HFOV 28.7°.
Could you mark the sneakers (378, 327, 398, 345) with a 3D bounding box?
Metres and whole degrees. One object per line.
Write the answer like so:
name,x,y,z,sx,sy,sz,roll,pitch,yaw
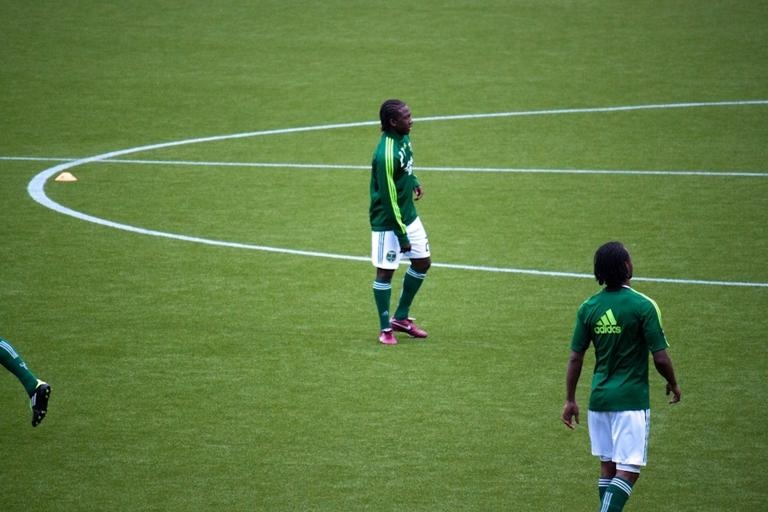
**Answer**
sneakers,0.063,1.181,22.310,0.175,0.129,0.314,-3,7,-18
